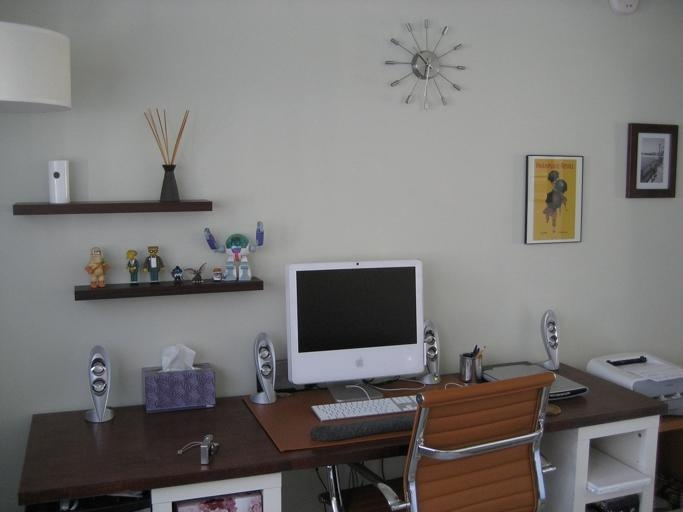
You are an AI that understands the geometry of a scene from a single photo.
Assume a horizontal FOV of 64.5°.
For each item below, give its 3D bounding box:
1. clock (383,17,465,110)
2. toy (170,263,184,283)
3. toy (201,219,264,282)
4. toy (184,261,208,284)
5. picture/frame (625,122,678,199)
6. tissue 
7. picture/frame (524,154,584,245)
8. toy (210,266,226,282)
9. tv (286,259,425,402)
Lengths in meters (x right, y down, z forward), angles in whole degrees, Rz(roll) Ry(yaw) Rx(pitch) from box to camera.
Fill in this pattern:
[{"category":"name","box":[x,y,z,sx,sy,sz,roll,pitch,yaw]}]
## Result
[{"category":"clock","box":[0.452,-1.023,2.926,0.429,0.504,0.080,3,-4,-3]},{"category":"toy","box":[-0.779,0.087,2.570,0.060,0.107,0.066,-2,-2,-39]},{"category":"toy","box":[-0.550,-0.033,2.662,0.262,0.311,0.120,-1,-5,-15]},{"category":"toy","box":[-0.715,0.079,2.635,0.088,0.070,0.028,-3,-8,-24]},{"category":"picture/frame","box":[1.893,-0.597,3.332,0.412,0.584,0.039,-2,4,-19]},{"category":"tissue ","box":[-0.775,0.577,2.585,0.315,0.297,0.164,0,-4,-25]},{"category":"picture/frame","box":[1.226,-0.342,3.169,0.460,0.716,0.026,-1,4,-16]},{"category":"toy","box":[-0.602,0.088,2.628,0.063,0.074,0.171,-1,-2,-10]},{"category":"tv","box":[0.062,0.349,2.634,0.575,0.563,0.145,-1,-2,-18]}]
